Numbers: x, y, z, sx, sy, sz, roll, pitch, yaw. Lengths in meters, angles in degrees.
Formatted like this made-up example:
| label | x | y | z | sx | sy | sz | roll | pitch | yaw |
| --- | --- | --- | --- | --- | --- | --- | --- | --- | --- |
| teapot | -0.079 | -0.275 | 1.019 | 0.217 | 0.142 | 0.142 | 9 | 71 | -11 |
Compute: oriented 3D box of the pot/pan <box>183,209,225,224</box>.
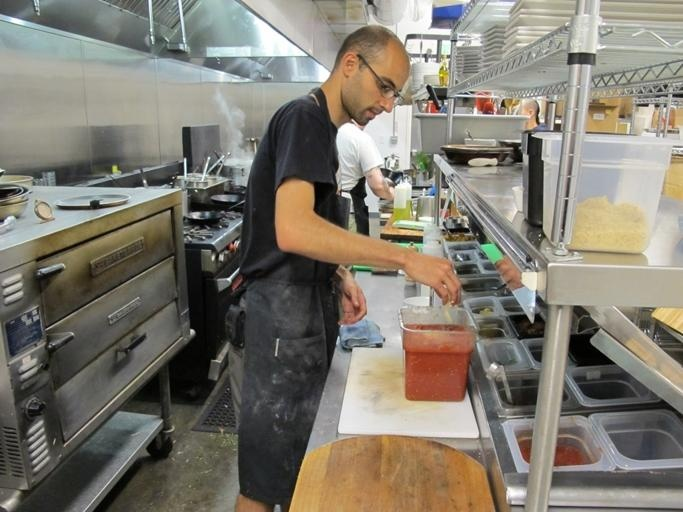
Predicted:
| label | x | y | z | sx | sy | sz | roll | pitch | yaw |
| --- | --- | --- | --- | --- | --- | --- | --- | --- | --- |
| pot/pan | -0.971 | -0.268 | 3.337 | 0.146 | 0.035 | 0.147 | 1 | 23 | -1 |

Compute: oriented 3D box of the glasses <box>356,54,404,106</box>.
| label | x | y | z | sx | sy | sz | roll | pitch | yaw |
| --- | --- | --- | --- | --- | --- | --- | --- | --- | --- |
| glasses | 0.130 | -0.604 | 1.586 | 0.136 | 0.041 | 0.140 | 25 | 33 | -59 |

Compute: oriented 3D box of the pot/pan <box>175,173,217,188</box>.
| label | x | y | z | sx | sy | sz | roll | pitch | yaw |
| --- | --- | --- | --- | --- | --- | --- | --- | --- | --- |
| pot/pan | -1.187 | -0.629 | 3.907 | 0.364 | 0.089 | 0.384 | -7 | 19 | -18 |

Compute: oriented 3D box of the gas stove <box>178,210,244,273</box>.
| label | x | y | z | sx | sy | sz | roll | pitch | yaw |
| --- | --- | --- | --- | --- | --- | --- | --- | --- | --- |
| gas stove | -0.863 | -0.097 | 3.093 | 0.345 | 0.259 | 0.674 | 1 | 7 | 11 |
